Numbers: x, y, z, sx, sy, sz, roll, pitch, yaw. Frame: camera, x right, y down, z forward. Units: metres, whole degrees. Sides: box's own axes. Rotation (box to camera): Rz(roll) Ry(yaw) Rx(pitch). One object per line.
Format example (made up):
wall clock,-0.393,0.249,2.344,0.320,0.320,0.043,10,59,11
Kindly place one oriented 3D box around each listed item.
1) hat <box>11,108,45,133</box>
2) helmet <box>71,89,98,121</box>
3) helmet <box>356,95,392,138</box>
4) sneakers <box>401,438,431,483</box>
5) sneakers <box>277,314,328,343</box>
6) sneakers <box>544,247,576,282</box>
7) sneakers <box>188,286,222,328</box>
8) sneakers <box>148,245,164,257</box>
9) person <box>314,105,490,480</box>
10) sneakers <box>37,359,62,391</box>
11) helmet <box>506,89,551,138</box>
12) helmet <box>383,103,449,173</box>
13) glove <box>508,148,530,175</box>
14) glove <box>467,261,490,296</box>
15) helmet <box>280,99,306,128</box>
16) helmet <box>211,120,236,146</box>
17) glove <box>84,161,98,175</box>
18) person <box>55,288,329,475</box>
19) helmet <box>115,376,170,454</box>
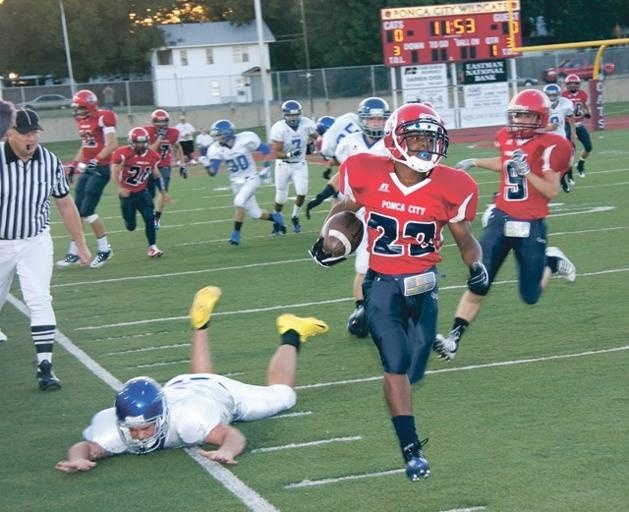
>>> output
hat,-2.108,-1.000,7.622,0.271,0.122,0.199,18,24,39
helmet,-2.507,-1.732,11.771,0.420,0.324,0.304,-12,16,-22
helmet,0.542,-1.251,9.366,0.339,0.322,0.374,-6,17,-14
sneakers,0.623,1.246,6.331,0.189,0.071,0.254,1,31,5
sneakers,-0.096,0.511,7.360,0.375,0.137,0.184,9,5,-4
sneakers,2.155,0.091,9.138,0.171,0.133,0.375,-5,40,-37
sneakers,-0.751,0.299,7.295,0.195,0.109,0.321,-20,-11,-11
sneakers,-1.844,-0.059,12.144,0.163,0.159,0.224,-7,11,-8
person,0.539,0.178,6.705,1.289,2.159,1.538,-2,7,-8
sneakers,-1.906,0.909,7.627,0.121,0.129,0.307,-1,2,-28
helmet,1.722,-1.166,8.465,0.384,0.358,0.469,4,15,21
helmet,0.667,-0.778,6.650,0.404,0.359,0.503,0,13,-29
glove,1.590,-0.727,8.070,0.131,0.192,0.082,-18,-3,-30
glove,1.136,0.159,7.187,0.143,0.235,0.174,-18,53,7
helmet,-0.216,-1.851,13.451,0.315,0.324,0.360,-9,32,-13
helmet,-1.094,-1.544,12.904,0.385,0.302,0.271,4,15,-1
glove,-2.484,-0.990,11.661,0.118,0.166,0.110,23,8,-21
person,-0.706,0.862,6.941,1.273,0.524,1.741,3,29,26
helmet,-1.021,0.972,6.518,0.383,0.433,0.471,-6,27,-1
